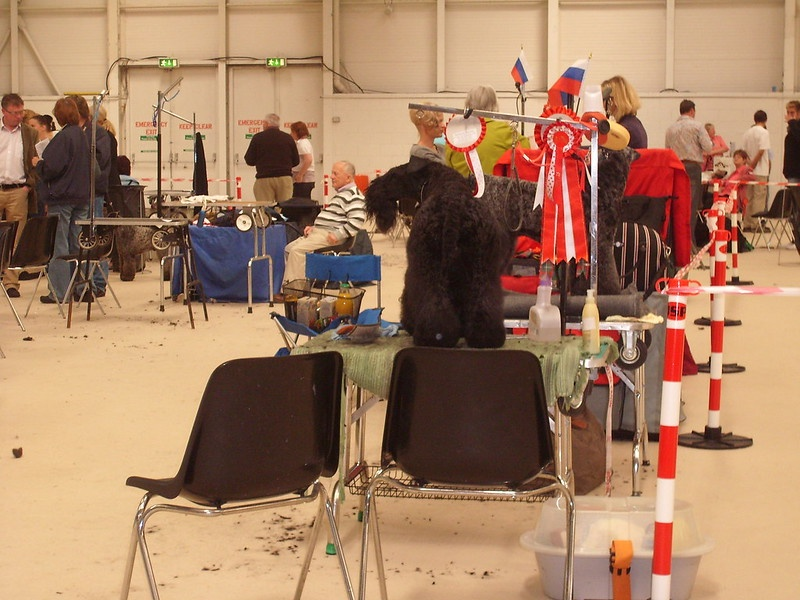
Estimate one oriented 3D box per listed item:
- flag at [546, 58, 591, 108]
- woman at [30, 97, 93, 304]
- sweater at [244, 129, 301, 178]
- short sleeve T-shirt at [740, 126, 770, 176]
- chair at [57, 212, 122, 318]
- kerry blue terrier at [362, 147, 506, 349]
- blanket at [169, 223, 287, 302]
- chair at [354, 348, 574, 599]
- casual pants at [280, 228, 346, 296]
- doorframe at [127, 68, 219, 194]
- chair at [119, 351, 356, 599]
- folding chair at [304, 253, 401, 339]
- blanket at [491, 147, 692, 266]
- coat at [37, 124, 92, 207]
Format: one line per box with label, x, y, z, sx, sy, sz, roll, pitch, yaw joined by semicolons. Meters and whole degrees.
flag;0.675;-0.878;4.087;0.150;0.224;0.275;1;6;9
woman;-3.033;-0.924;9.239;0.482;1.858;0.539;11;10;16
sweater;-1.513;-1.703;11.999;0.776;0.794;0.504;-1;-7;1
short sleeve T-shirt;4.934;-2.065;13.925;0.342;0.695;0.537;2;6;18
chair;-2.673;-0.356;8.561;0.522;0.884;1.686;-2;6;-18
kerry blue terrier;0.144;-0.194;3.930;0.358;0.730;0.547;-5;8;-40
blanket;-1.538;-0.316;9.281;0.769;0.566;0.825;1;3;4
chair;0.254;0.549;3.909;0.873;1.311;0.809;1;6;6
casual pants;-0.725;-0.337;8.171;0.517;0.783;0.522;2;2;-22
doorframe;-4.259;-3.129;18.468;1.856;2.261;0.550;2;6;17
chair;-0.523;0.471;3.823;0.856;1.228;0.802;-1;4;-28
folding chair;-0.305;-0.022;5.947;0.655;0.810;0.087;0;5;-5
blanket;1.111;-0.557;5.243;0.731;0.590;0.782;0;6;15
coat;-2.926;-1.158;8.705;0.444;0.688;0.273;-2;6;-19
